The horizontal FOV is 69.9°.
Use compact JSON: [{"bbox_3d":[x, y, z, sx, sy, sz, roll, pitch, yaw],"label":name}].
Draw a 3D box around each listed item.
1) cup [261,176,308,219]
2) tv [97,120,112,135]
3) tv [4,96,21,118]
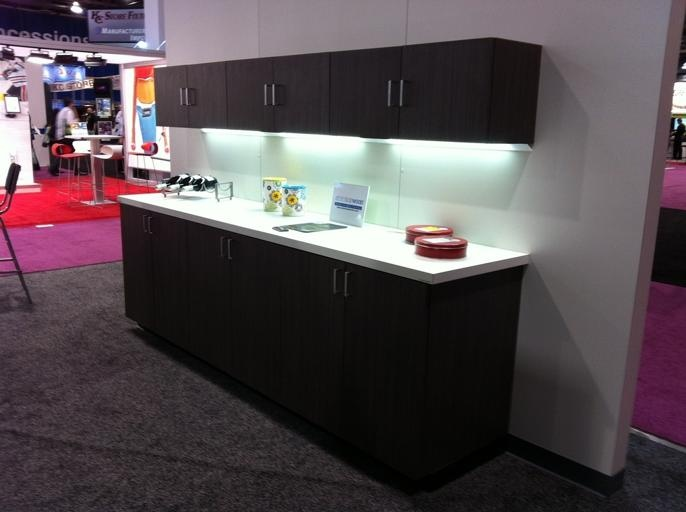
[{"bbox_3d":[-0.395,-0.407,3.346,0.270,0.172,0.269,3,16,-1],"label":"cup"},{"bbox_3d":[-5.340,-2.882,11.069,0.258,0.240,3.001,-5,16,-24],"label":"tv"},{"bbox_3d":[-6.902,-3.088,10.272,0.276,0.524,0.374,15,16,42],"label":"tv"}]
